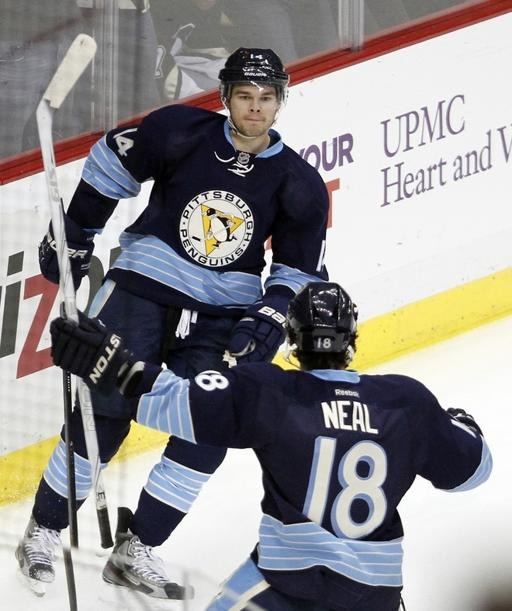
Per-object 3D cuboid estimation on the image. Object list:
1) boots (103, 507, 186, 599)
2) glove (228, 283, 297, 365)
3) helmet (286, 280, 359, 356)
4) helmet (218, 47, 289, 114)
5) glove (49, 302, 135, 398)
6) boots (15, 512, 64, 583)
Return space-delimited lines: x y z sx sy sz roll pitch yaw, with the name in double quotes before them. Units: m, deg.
"boots" -0.328 0.779 2.846 0.353 0.217 0.117 9 3 40
"glove" 0.038 0.053 2.877 0.108 0.118 0.346 15 45 29
"helmet" 0.158 0.036 2.221 0.180 0.153 0.199 2 3 -1
"helmet" -0.012 -0.704 2.838 0.201 0.173 0.203 0 10 -5
"glove" -0.373 0.108 2.130 0.224 0.110 0.156 33 -17 11
"boots" -0.719 0.770 2.911 0.092 0.170 0.260 33 -7 -19
